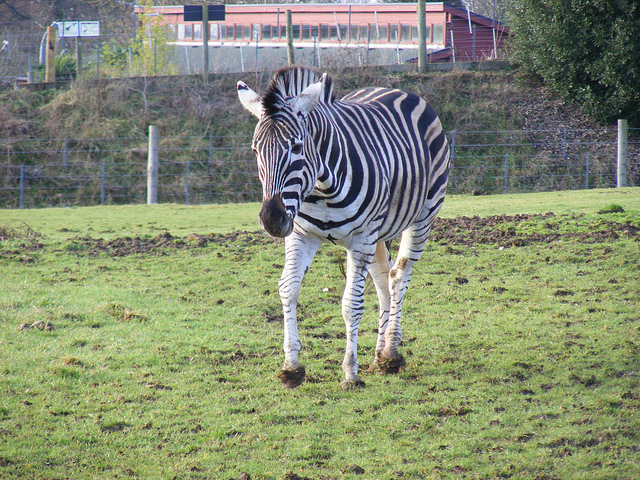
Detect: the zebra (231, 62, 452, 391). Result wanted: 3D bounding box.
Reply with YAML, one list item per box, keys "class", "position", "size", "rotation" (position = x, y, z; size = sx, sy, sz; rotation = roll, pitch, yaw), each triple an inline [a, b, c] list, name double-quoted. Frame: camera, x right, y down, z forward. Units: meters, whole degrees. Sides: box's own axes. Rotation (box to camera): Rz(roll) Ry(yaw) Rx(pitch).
- class: "zebra"
  position: [0.671, -0.382, 42.730]
  size: [5.129, 8.502, 1.637]
  rotation: [-2, 4, -25]
